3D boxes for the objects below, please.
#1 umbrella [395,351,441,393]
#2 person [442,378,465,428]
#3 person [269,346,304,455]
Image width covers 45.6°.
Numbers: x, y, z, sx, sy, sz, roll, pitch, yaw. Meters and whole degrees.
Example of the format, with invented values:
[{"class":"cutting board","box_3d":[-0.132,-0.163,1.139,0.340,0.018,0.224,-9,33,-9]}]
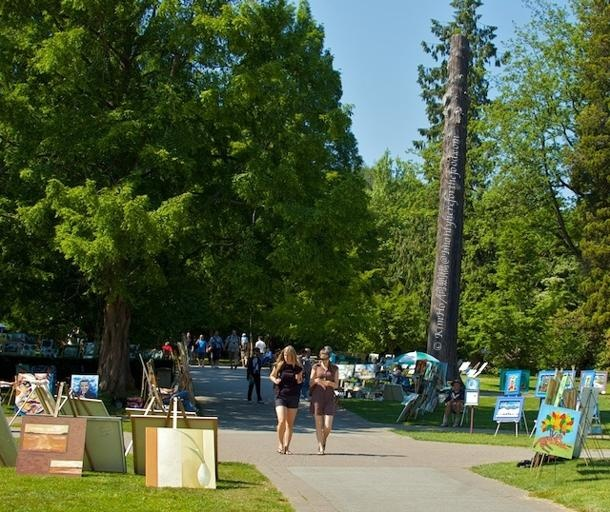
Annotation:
[{"class":"umbrella","box_3d":[4.242,4.096,25.844,1.273,0.965,1.332,2,-7,-6]},{"class":"person","box_3d":[4.276,4.231,20.914,0.590,1.258,1.937,3,-8,12]},{"class":"person","box_3d":[-0.372,2.768,14.179,0.603,2.075,1.043,5,-7,0]}]
